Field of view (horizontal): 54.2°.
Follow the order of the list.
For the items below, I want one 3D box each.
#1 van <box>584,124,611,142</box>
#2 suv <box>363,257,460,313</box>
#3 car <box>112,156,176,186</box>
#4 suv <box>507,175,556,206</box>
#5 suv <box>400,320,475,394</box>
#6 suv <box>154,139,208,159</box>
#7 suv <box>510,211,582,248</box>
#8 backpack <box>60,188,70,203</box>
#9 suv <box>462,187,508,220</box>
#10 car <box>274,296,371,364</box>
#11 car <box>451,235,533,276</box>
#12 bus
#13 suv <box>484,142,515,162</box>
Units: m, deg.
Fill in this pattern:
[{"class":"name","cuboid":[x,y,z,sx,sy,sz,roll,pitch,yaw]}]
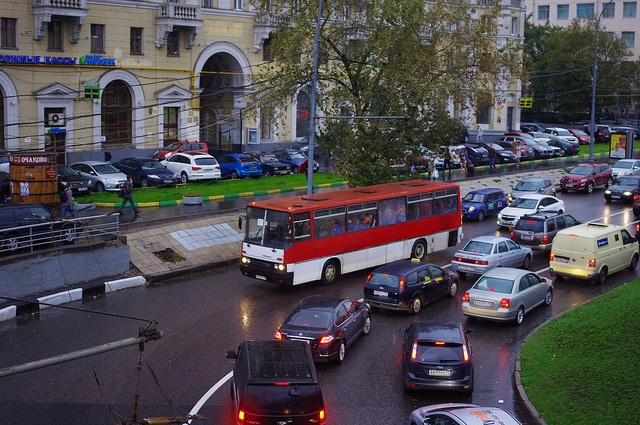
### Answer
[{"class":"van","cuboid":[34.064,-9.383,75.685,1.754,1.633,3.082,7,21,32]},{"class":"suv","cuboid":[4.236,3.118,28.193,2.291,1.852,5.422,5,10,39]},{"class":"car","cuboid":[-12.289,-2.875,43.545,4.041,1.484,1.884,6,7,43]},{"class":"suv","cuboid":[14.699,-1.485,43.399,3.354,1.594,1.531,-5,7,-44]},{"class":"suv","cuboid":[4.249,4.820,22.761,2.451,1.713,4.513,1,12,8]},{"class":"suv","cuboid":[-11.101,-5.033,49.851,3.371,1.677,2.037,0,7,-29]},{"class":"suv","cuboid":[12.969,0.995,35.208,4.799,2.075,2.170,-12,12,-39]},{"class":"backpack","cuboid":[-13.275,-0.832,32.428,0.420,0.670,0.621,2,3,11]},{"class":"suv","cuboid":[10.926,-0.579,42.195,4.138,1.839,1.948,-12,13,-35]},{"class":"car","cuboid":[0.444,4.226,23.575,1.639,1.349,3.776,2,10,23]},{"class":"car","cuboid":[8.783,2.121,31.593,4.679,1.827,2.122,-10,10,-41]},{"class":"bus","cuboid":[2.051,1.007,32.013,13.156,3.975,2.408,-8,11,-38]},{"class":"suv","cuboid":[16.983,-5.482,58.743,3.450,1.223,1.558,-6,11,-28]}]
